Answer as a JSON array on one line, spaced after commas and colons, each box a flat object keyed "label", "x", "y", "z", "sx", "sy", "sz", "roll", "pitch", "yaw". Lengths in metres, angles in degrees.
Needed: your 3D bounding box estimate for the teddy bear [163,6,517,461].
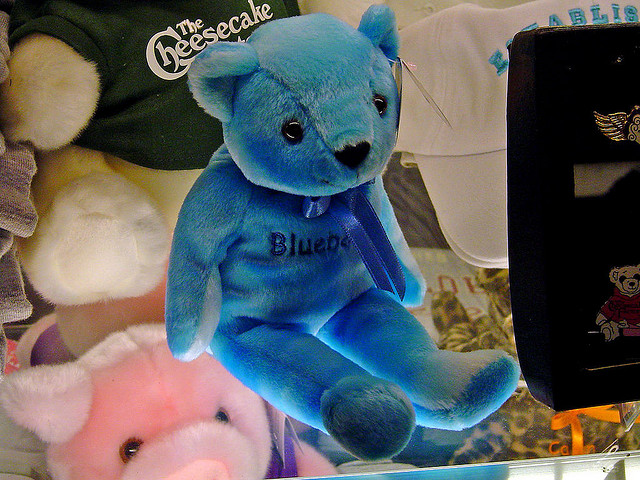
[{"label": "teddy bear", "x": 0.003, "y": 0.001, "z": 1.025, "sx": 0.432, "sy": 0.502, "sz": 0.538, "roll": -15, "pitch": 45, "yaw": -28}]
